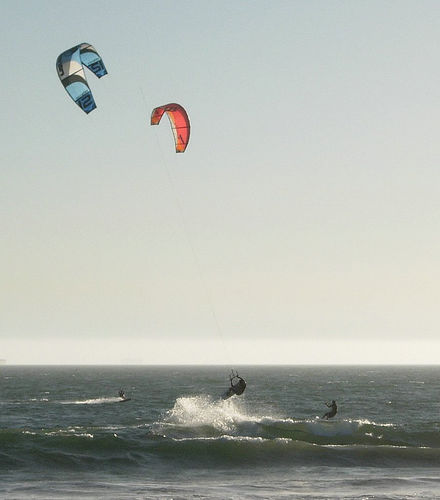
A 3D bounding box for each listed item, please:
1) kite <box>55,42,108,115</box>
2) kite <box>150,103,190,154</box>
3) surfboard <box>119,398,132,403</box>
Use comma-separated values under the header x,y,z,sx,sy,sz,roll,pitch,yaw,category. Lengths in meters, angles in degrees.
x,y,z,sx,sy,sz,roll,pitch,yaw,category
-5.954,-7.064,34.879,1.809,2.548,2.195,-3,-40,11,kite
-2.267,-5.326,38.515,2.123,2.012,0.438,22,0,-15,kite
-7.741,12.302,68.252,0.765,0.161,0.653,-3,1,-24,surfboard
